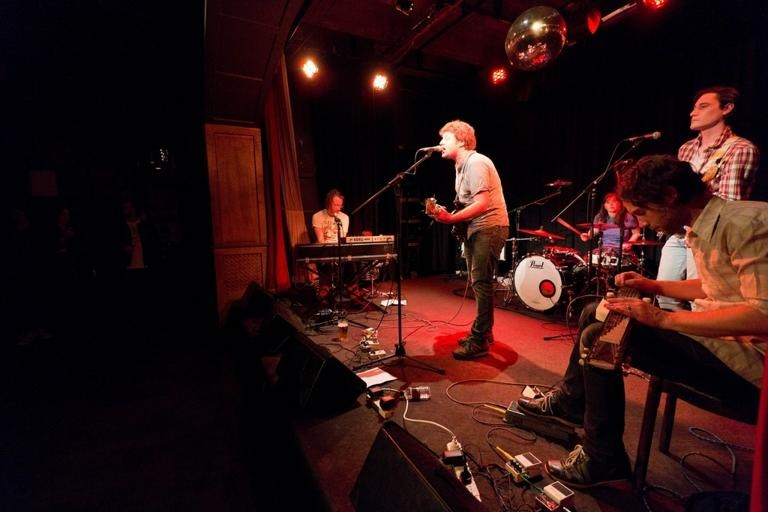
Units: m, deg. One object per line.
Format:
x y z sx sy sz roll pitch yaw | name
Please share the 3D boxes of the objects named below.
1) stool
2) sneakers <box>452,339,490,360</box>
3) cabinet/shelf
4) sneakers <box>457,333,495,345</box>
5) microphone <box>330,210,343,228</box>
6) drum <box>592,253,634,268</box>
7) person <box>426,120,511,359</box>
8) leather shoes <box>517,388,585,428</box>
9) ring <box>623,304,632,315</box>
2.754 1.586 4.782 0.888 1.579 1.129 7 -4 -29 | stool
0.972 1.065 5.732 0.473 0.233 0.178 1 -6 -6 | sneakers
0.450 -0.477 10.674 1.120 2.058 1.042 -10 2 -35 | cabinet/shelf
1.073 0.936 5.904 0.460 0.201 0.156 3 -4 -4 | sneakers
-0.669 -0.529 7.225 0.136 0.211 0.564 1 3 -9 | microphone
3.040 0.063 6.767 0.475 0.179 0.416 0 0 10 | drum
0.978 -0.195 5.768 0.803 2.702 0.470 1 4 13 | person
1.588 1.402 4.846 0.658 0.291 0.242 9 -4 22 | leather shoes
2.012 0.441 4.203 0.056 0.082 0.026 2 -9 29 | ring
